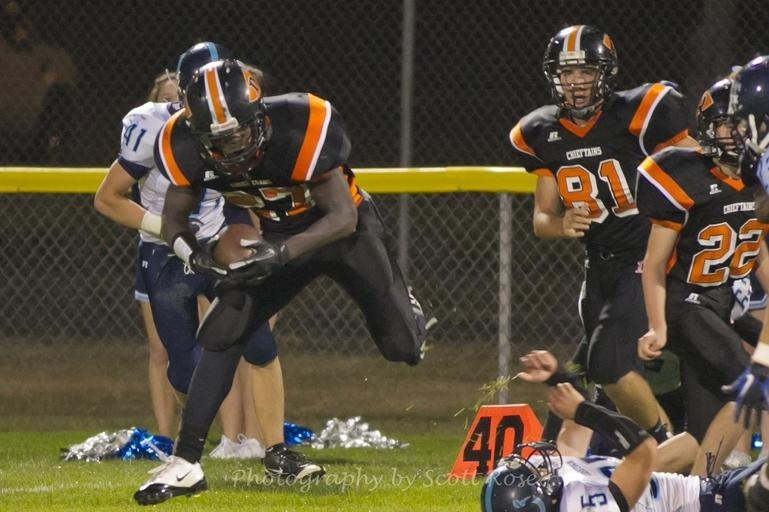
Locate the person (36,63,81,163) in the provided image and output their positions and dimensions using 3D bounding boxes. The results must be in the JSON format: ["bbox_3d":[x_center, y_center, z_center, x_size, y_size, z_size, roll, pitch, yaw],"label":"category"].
[{"bbox_3d":[-3.275,-1.379,11.195,0.523,0.887,2.717,-9,8,-16],"label":"person"}]

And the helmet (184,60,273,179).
[{"bbox_3d":[-0.852,-0.786,6.365,0.483,0.594,0.533,-14,-29,12],"label":"helmet"}]

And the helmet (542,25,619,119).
[{"bbox_3d":[1.248,-1.162,6.957,0.466,0.527,0.591,-7,8,24],"label":"helmet"}]

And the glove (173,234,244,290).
[{"bbox_3d":[-1.025,0.009,6.478,0.152,0.251,0.379,-41,18,-22],"label":"glove"}]

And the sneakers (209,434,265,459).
[{"bbox_3d":[-0.968,1.276,7.482,0.427,0.158,0.133,2,-21,2],"label":"sneakers"}]
